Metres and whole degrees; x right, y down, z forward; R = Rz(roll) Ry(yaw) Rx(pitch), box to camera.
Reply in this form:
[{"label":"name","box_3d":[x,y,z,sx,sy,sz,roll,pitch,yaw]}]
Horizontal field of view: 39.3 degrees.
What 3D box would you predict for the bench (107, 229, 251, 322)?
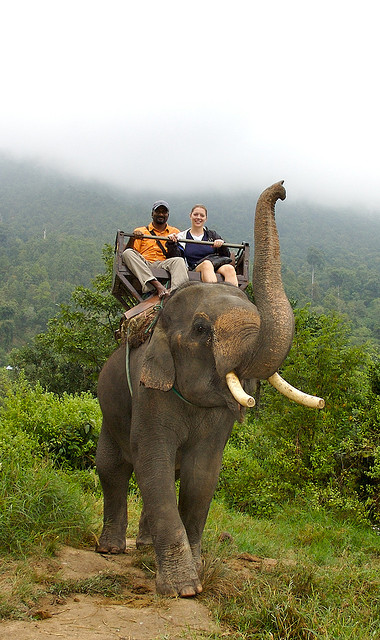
[{"label":"bench","box_3d":[-0.120,-0.375,4.580,1.152,0.830,0.944,1,-1,-10]}]
